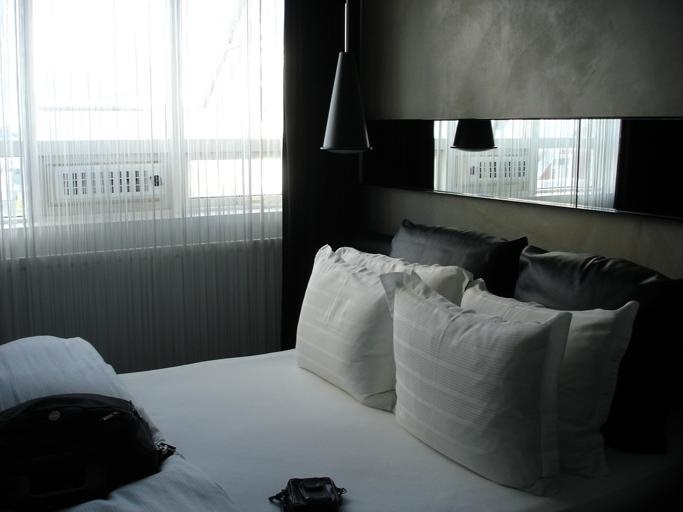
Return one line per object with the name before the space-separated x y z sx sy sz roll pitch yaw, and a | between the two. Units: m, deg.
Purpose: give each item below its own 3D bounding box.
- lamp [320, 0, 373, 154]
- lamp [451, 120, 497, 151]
lamp | 0.025 -0.950 2.616 0.229 0.797 0.627 0 11 1
lamp | 0.669 -0.627 2.503 0.170 0.178 0.175 -8 13 -42
